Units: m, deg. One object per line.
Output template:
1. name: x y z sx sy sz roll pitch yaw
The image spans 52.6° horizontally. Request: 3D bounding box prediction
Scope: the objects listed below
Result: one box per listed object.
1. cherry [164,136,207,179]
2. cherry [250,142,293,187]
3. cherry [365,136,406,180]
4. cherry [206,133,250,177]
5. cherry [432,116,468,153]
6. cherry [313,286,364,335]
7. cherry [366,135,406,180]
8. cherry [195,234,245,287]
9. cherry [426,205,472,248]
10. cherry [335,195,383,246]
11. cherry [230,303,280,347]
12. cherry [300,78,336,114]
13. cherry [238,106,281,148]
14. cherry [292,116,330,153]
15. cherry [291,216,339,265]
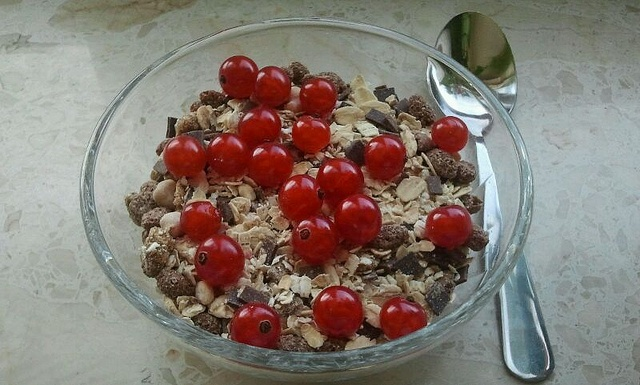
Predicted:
1. cherry: -0.420 -0.111 2.020 0.134 0.073 0.128 -14 81 -1
2. cherry: -0.192 -0.100 2.066 0.090 0.210 0.106 21 119 42
3. cherry: 0.202 -0.108 2.030 0.133 0.070 0.141 26 83 5
4. cherry: -0.288 -0.112 2.025 0.139 0.060 0.133 44 85 7
5. cherry: 0.417 -0.186 2.106 0.119 0.091 0.112 -5 74 2
6. cherry: 0.050 0.345 1.870 0.145 0.078 0.148 -1 81 1
7. cherry: 0.200 -0.109 2.007 0.176 0.092 0.115 32 124 45
8. cherry: -0.292 0.206 1.962 0.144 0.148 0.143 3 81 21
9. cherry: 0.388 0.108 1.968 0.136 0.056 0.126 -9 81 0
10. cherry: 0.112 0.078 1.935 0.137 0.069 0.139 -3 81 1
11. cherry: -0.182 0.375 1.840 0.137 0.048 0.114 12 82 3
12. cherry: -0.011 -0.307 2.155 0.121 0.109 0.114 0 76 -6
13. cherry: -0.174 -0.212 2.072 0.129 0.145 0.123 -1 102 3
14. cherry: -0.030 -0.184 2.058 0.120 0.065 0.114 39 84 6
15. cherry: -0.012 0.140 1.967 0.141 0.136 0.129 2 64 9
